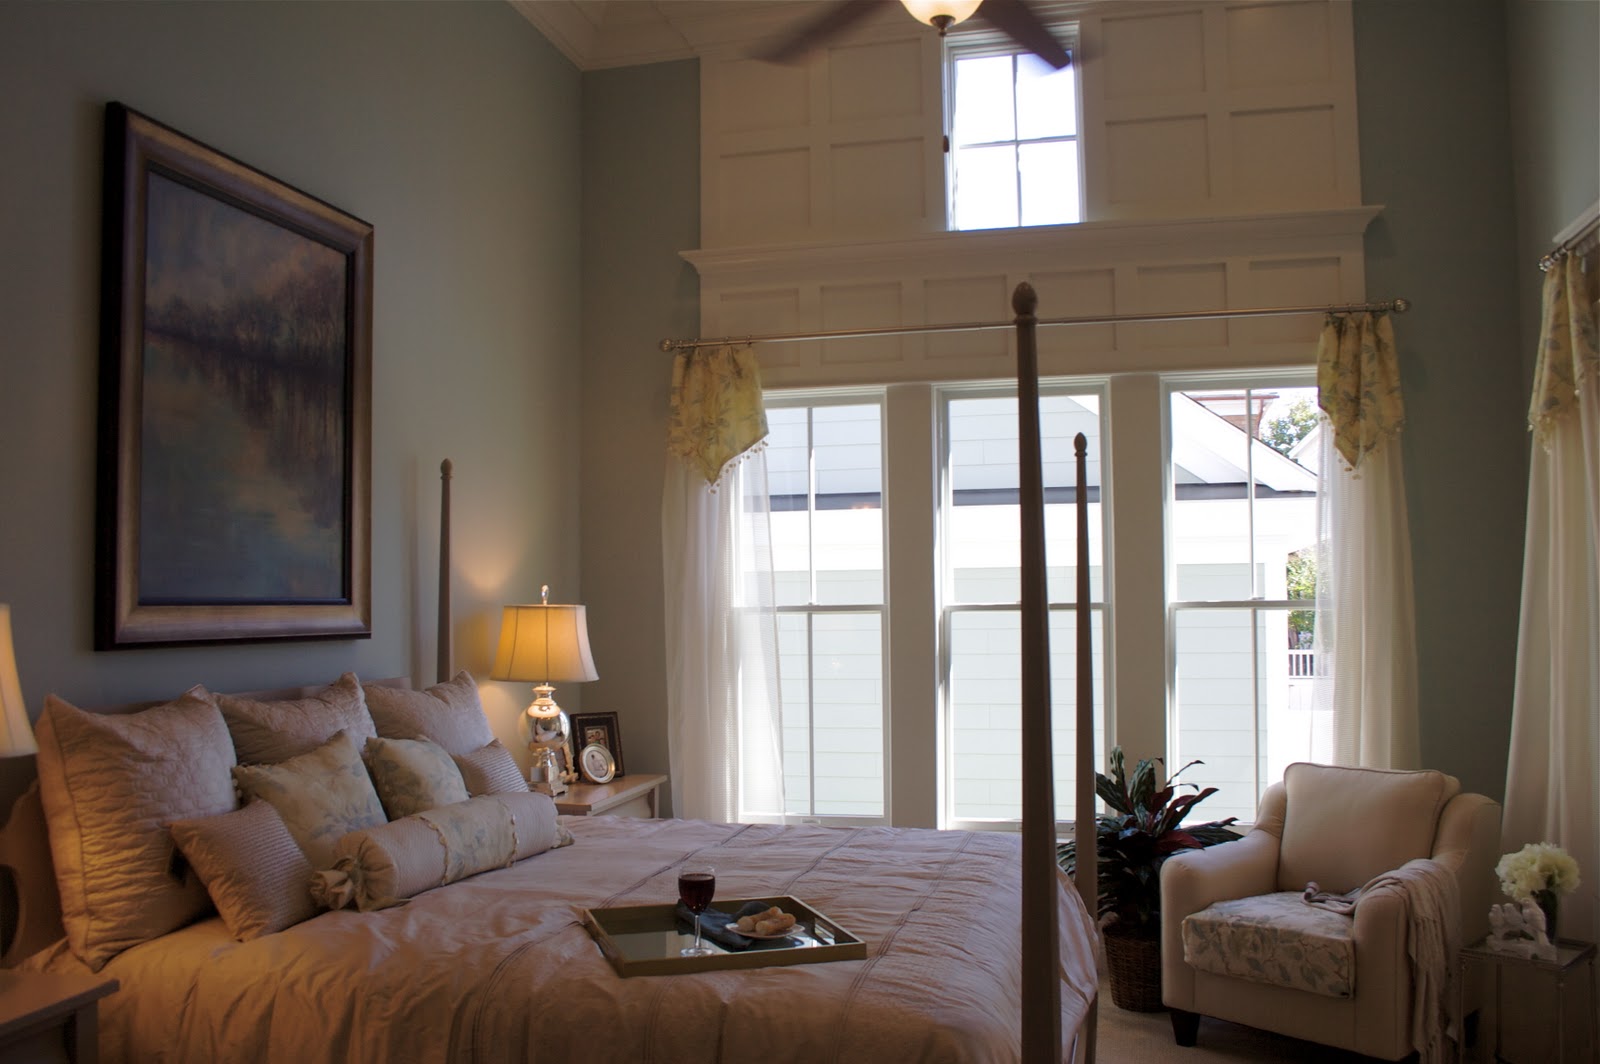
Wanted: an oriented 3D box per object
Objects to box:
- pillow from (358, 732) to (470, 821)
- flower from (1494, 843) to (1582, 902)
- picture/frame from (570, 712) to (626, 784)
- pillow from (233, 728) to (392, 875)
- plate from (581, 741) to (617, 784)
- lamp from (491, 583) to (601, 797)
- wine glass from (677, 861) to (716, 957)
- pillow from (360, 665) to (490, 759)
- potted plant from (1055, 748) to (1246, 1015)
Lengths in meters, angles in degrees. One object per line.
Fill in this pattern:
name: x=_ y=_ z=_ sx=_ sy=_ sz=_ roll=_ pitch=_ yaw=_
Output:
pillow: x=-1.390 y=0.962 z=4.951 sx=0.138 sy=0.238 sz=0.280 roll=-17 pitch=4 yaw=28
flower: x=3.101 y=1.402 z=5.421 sx=0.242 sy=0.253 sz=0.239 roll=2 pitch=-9 yaw=-23
picture/frame: x=-1.063 y=1.111 z=6.669 sx=0.034 sy=0.344 sz=0.293 roll=-17 pitch=-14 yaw=31
pillow: x=-1.811 y=0.839 z=4.515 sx=0.387 sy=0.438 sz=0.092 roll=-28 pitch=27 yaw=-21
plate: x=-1.041 y=1.167 z=6.594 sx=0.039 sy=0.165 sz=0.161 roll=-24 pitch=4 yaw=24
lamp: x=-1.223 y=0.747 z=6.237 sx=0.493 sy=0.948 sz=0.507 roll=1 pitch=2 yaw=44
wine glass: x=-0.335 y=1.175 z=4.143 sx=0.108 sy=0.215 sz=0.317 roll=-2 pitch=-4 yaw=-7
pillow: x=-1.512 y=0.789 z=5.344 sx=0.176 sy=0.375 sz=0.481 roll=-2 pitch=3 yaw=38
potted plant: x=1.615 y=1.633 z=6.108 sx=0.771 sy=1.104 sz=0.862 roll=4 pitch=-11 yaw=-35
